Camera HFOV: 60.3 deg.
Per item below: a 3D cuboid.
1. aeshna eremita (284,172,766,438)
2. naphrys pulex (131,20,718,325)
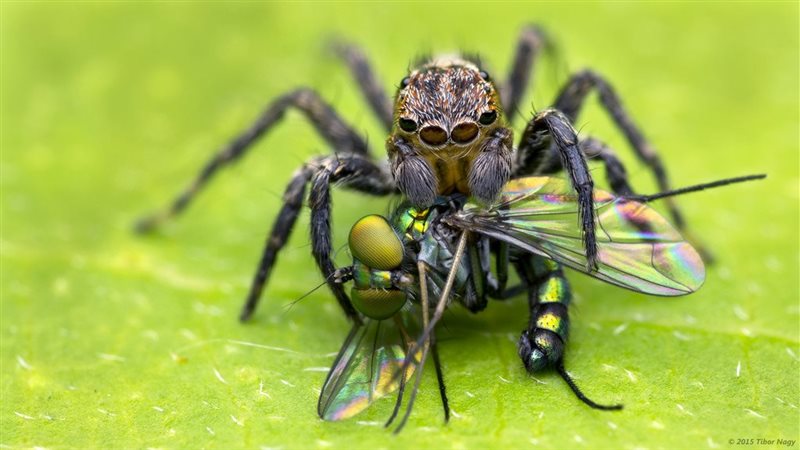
[{"bbox_3d":[0.392,0.124,2.664,0.943,1.078,1.114,1,92,2],"label":"aeshna eremita"},{"bbox_3d":[0.159,-0.281,2.755,1.642,0.480,1.424,1,28,12],"label":"naphrys pulex"}]
